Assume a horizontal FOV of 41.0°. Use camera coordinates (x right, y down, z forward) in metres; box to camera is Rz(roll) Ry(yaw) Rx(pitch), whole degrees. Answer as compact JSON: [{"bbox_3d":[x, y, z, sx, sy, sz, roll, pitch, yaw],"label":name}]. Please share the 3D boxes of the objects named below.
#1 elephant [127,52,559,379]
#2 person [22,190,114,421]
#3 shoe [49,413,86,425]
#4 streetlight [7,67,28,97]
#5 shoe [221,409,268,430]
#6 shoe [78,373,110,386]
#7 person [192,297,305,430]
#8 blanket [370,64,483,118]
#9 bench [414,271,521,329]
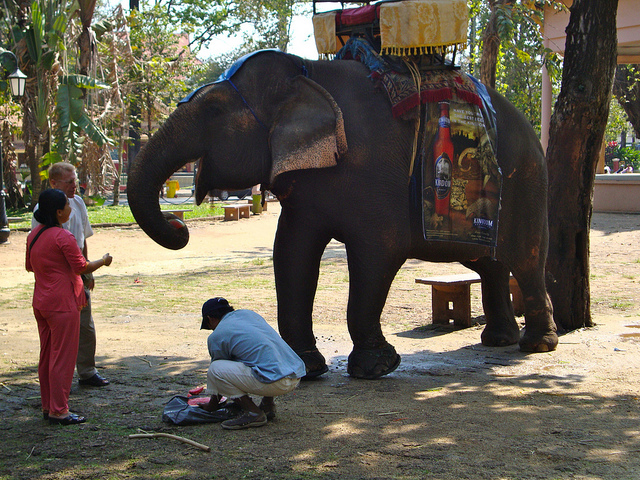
[{"bbox_3d":[0.695,-0.398,10.481,5.838,4.074,2.221,0,-3,-13],"label":"elephant"},{"bbox_3d":[-2.239,0.571,7.574,0.543,2.003,0.591,-3,10,-19],"label":"person"},{"bbox_3d":[-2.171,1.577,7.529,0.274,0.086,0.102,0,1,-8],"label":"shoe"},{"bbox_3d":[-5.862,-3.134,16.909,0.301,0.560,0.760,-3,10,-18],"label":"streetlight"},{"bbox_3d":[-0.634,1.597,7.584,0.409,0.182,0.140,2,-5,-10],"label":"shoe"},{"bbox_3d":[-2.140,1.363,8.354,0.305,0.122,0.108,0,3,-4],"label":"shoe"},{"bbox_3d":[-0.625,1.099,7.834,0.800,1.030,1.077,-3,5,-31],"label":"person"},{"bbox_3d":[1.122,-1.567,8.684,0.807,0.250,0.613,-2,26,-7],"label":"blanket"},{"bbox_3d":[1.980,0.743,11.701,0.497,0.615,1.906,2,6,26],"label":"bench"}]
